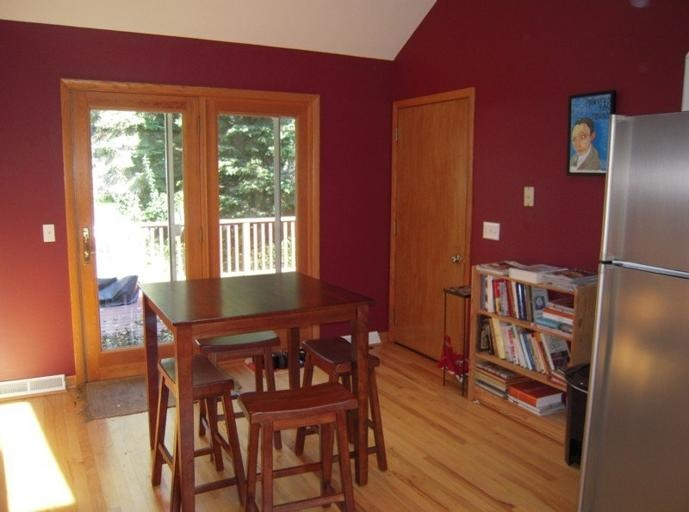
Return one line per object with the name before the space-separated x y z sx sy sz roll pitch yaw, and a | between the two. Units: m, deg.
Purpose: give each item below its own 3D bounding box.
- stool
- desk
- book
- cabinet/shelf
stool | -0.443 0.793 3.350 1.052 0.695 1.072 -3 4 -25
desk | -0.601 0.609 3.636 1.277 1.262 1.291 -3 6 -28
book | 1.354 0.569 3.910 0.368 1.170 0.919 -6 12 -30
cabinet/shelf | 1.321 0.700 3.907 0.406 1.287 1.010 -5 10 -28
